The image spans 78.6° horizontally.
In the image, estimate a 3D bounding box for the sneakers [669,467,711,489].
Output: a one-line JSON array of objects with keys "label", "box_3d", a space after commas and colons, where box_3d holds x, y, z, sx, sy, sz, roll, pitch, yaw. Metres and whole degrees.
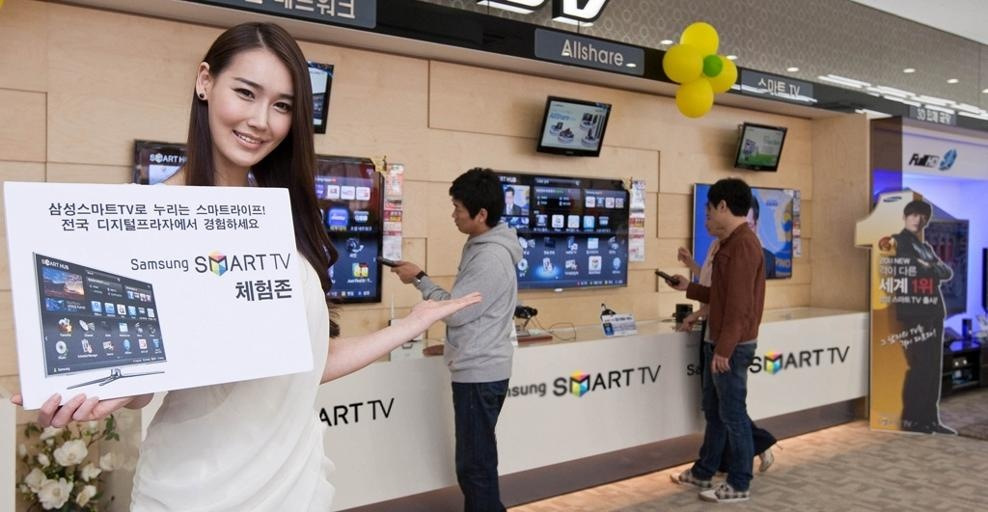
[{"label": "sneakers", "box_3d": [1.759, 1.974, 5.380, 0.283, 0.099, 0.147, 2, -2, 39]}]

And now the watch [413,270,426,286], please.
[{"label": "watch", "box_3d": [-0.573, 0.178, 4.754, 0.104, 0.094, 0.110, -33, -38, 32]}]

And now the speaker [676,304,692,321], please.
[{"label": "speaker", "box_3d": [1.864, 0.563, 5.974, 0.147, 0.151, 0.188, 1, -2, -30]}]

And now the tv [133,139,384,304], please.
[{"label": "tv", "box_3d": [-1.299, -0.215, 3.272, 1.642, 1.033, 0.158, 2, -6, -28]}]

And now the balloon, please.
[{"label": "balloon", "box_3d": [1.949, -1.790, 5.739, 0.671, 0.878, 0.352, 5, 12, 8]}]

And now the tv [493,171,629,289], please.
[{"label": "tv", "box_3d": [0.597, -0.270, 5.776, 1.395, 0.799, 0.052, -2, 5, -24]}]

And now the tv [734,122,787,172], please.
[{"label": "tv", "box_3d": [2.968, -1.253, 6.792, 0.710, 0.460, 0.090, 0, 13, -25]}]

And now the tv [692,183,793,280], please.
[{"label": "tv", "box_3d": [2.410, -0.263, 5.967, 1.306, 0.791, 0.052, 1, -2, -28]}]

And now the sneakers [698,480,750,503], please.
[{"label": "sneakers", "box_3d": [1.969, 2.025, 5.165, 0.366, 0.124, 0.174, 3, -4, 4]}]

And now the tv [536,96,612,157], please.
[{"label": "tv", "box_3d": [0.746, -1.287, 5.905, 0.740, 0.470, 0.092, 3, 13, -26]}]

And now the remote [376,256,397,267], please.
[{"label": "remote", "box_3d": [-0.901, 0.034, 4.912, 0.103, 0.074, 0.356, 5, -2, -29]}]
